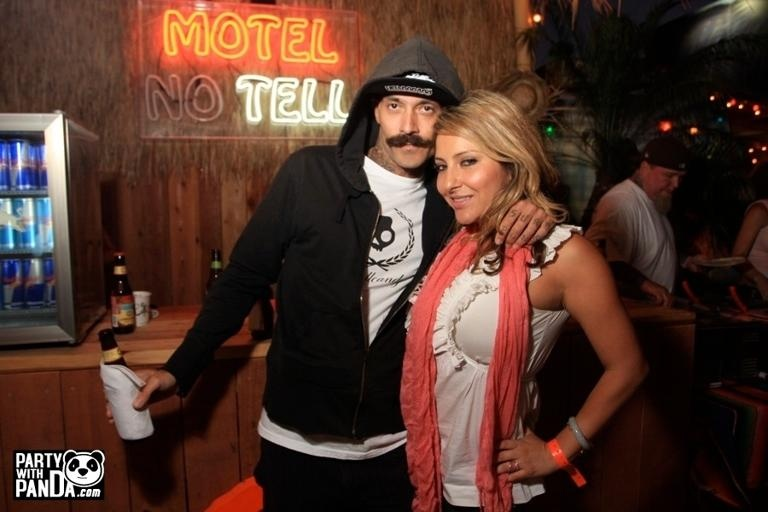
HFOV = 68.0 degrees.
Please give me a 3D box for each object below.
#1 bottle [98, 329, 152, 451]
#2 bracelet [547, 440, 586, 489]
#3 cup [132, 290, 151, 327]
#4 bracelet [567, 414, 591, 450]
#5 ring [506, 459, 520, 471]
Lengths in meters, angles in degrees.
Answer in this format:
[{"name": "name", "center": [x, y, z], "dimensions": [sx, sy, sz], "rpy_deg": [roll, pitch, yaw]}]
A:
[{"name": "bottle", "center": [-1.235, 0.609, 2.664], "dimensions": [0.285, 0.492, 0.154], "rpy_deg": [6, 9, 33]}, {"name": "bracelet", "center": [0.824, 0.925, 2.586], "dimensions": [0.180, 0.216, 0.068], "rpy_deg": [0, 8, -6]}, {"name": "cup", "center": [-1.462, 0.314, 3.418], "dimensions": [0.155, 0.184, 0.164], "rpy_deg": [0, -2, 0]}, {"name": "bracelet", "center": [0.868, 0.787, 2.564], "dimensions": [0.034, 0.120, 0.120], "rpy_deg": [-33, 18, 6]}, {"name": "ring", "center": [0.583, 0.930, 2.565], "dimensions": [0.033, 0.050, 0.014], "rpy_deg": [-2, -11, 9]}]
